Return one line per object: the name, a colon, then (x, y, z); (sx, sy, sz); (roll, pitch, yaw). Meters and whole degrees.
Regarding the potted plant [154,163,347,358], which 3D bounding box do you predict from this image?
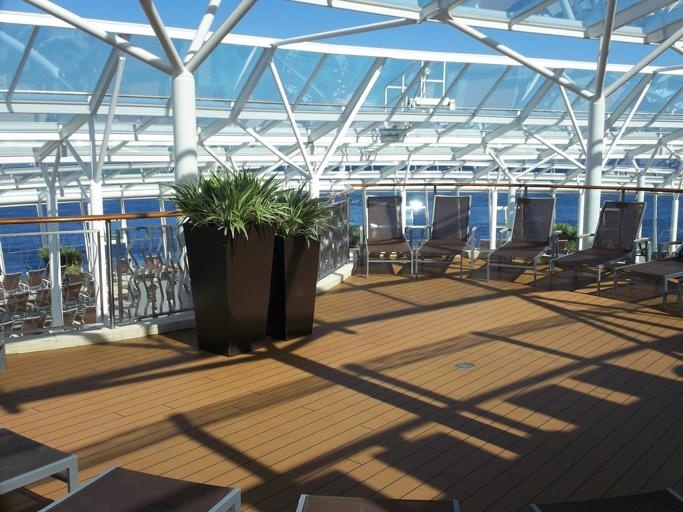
potted plant: (-0.869, 0.047, 4.764); (1.185, 1.814, 0.690); (-13, 20, -38)
